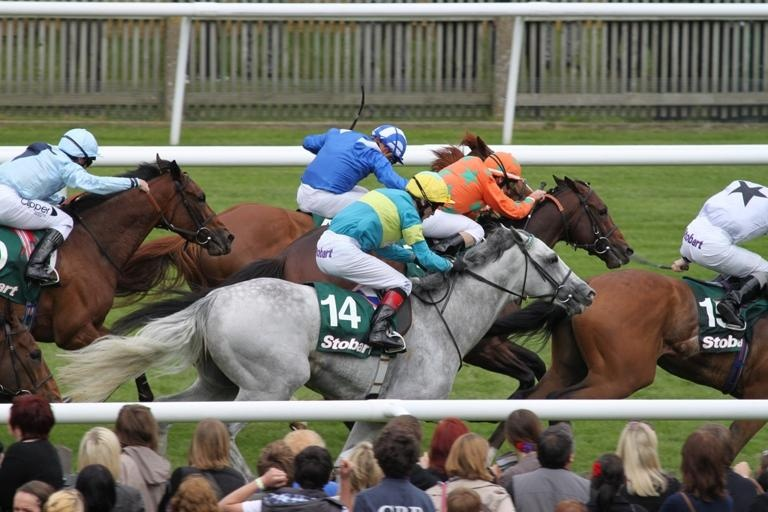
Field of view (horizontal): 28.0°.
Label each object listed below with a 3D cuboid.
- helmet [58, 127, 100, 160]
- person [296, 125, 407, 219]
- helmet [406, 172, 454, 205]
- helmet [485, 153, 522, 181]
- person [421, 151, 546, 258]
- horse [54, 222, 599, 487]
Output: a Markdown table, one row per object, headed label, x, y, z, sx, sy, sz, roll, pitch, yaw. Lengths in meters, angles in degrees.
| label | x | y | z | sx | sy | sz | roll | pitch | yaw |
| --- | --- | --- | --- | --- | --- | --- | --- | --- | --- |
| helmet | -2.179 | -0.810 | 10.920 | 0.290 | 0.140 | 0.189 | -5 | 33 | -41 |
| person | -0.240 | -0.608 | 11.097 | 0.496 | 0.744 | 0.463 | 7 | 44 | -48 |
| helmet | 0.308 | -0.490 | 10.513 | 0.406 | 0.166 | 0.245 | 12 | 22 | -11 |
| helmet | 0.907 | -0.690 | 11.506 | 0.284 | 0.124 | 0.186 | 17 | 7 | -11 |
| person | 0.680 | -0.406 | 11.182 | 1.114 | 0.556 | 0.530 | -14 | 23 | -9 |
| horse | -0.405 | 0.662 | 10.276 | 3.628 | 1.488 | 0.616 | 0 | 10 | 3 |
